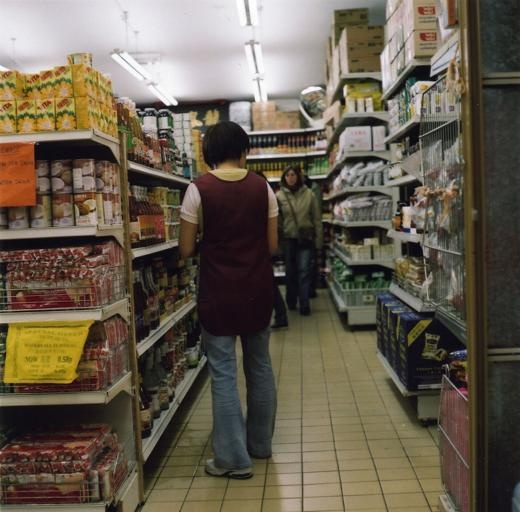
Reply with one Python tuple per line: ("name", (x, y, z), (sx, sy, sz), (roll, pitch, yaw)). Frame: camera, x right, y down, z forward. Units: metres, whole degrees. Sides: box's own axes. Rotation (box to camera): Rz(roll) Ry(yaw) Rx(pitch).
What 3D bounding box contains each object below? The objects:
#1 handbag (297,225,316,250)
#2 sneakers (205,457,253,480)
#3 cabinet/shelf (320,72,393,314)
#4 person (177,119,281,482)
("handbag", (0.540, -0.212, 5.856), (0.267, 0.417, 0.206), (0, -5, -4))
("sneakers", (-0.156, 1.041, 2.390), (0.225, 0.112, 0.088), (6, -1, 9))
("cabinet/shelf", (1.099, -0.701, 5.449), (0.511, 2.037, 3.253), (0, -1, 4))
("person", (-0.128, 0.203, 2.384), (0.502, 1.712, 0.302), (-3, 3, -12))
